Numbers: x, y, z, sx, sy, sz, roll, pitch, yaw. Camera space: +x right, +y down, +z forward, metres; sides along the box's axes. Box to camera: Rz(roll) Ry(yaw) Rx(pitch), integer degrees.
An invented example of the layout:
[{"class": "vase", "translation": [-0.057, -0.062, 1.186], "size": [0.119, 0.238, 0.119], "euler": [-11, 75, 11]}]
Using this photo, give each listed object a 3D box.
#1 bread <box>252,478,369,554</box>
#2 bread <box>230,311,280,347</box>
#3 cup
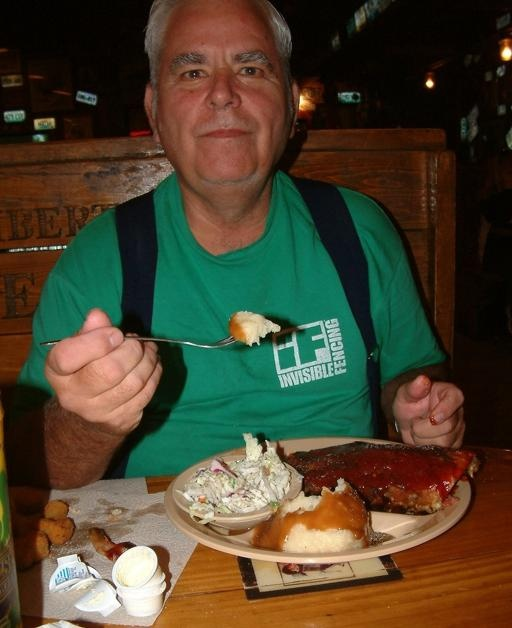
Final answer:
[{"class": "bread", "translation": [0.119, 0.399, 1.198], "size": [0.187, 0.055, 0.166], "euler": [-16, -9, 28]}, {"class": "bread", "translation": [-0.008, 0.039, 1.572], "size": [0.131, 0.082, 0.110], "euler": [-4, 9, -4]}, {"class": "cup", "translation": [-0.213, 0.491, 1.087], "size": [0.117, 0.075, 0.107], "euler": [-2, 11, 0]}]
